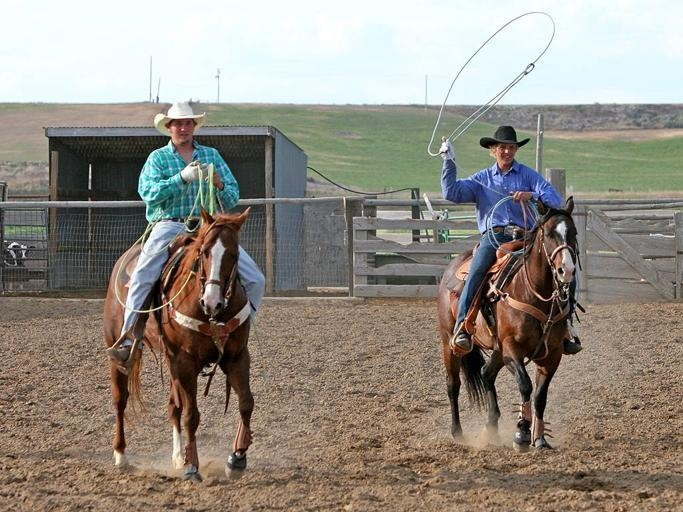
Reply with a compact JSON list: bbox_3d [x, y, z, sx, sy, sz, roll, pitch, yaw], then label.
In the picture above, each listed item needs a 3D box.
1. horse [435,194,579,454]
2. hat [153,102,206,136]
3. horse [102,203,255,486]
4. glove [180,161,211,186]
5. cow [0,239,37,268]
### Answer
[{"bbox_3d":[2.213,0.843,16.831,2.031,3.219,0.864,5,9,44],"label":"horse"},{"bbox_3d":[-2.095,-1.855,16.758,0.639,0.267,0.702,-4,-7,-11],"label":"hat"},{"bbox_3d":[-2.055,1.071,16.170,1.840,3.325,0.930,2,7,29],"label":"horse"},{"bbox_3d":[-1.844,-1.058,16.229,0.403,0.270,0.238,1,7,23],"label":"glove"},{"bbox_3d":[-6.667,-0.020,26.130,0.604,0.641,0.737,0,-14,-2],"label":"cow"}]
